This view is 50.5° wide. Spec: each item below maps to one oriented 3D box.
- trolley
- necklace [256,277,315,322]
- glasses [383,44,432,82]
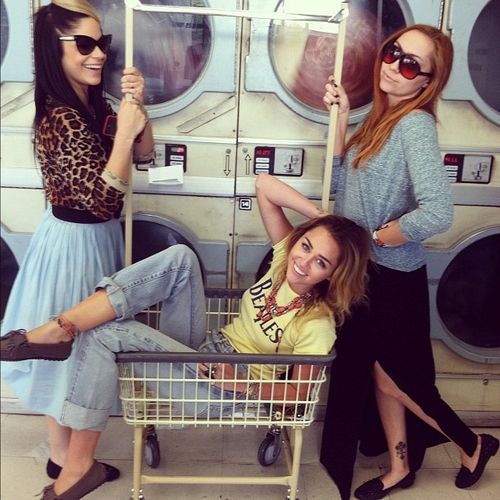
[{"bbox_3d":[-0.085,0.538,2.109,0.956,0.822,0.677,0,8,-5],"label":"trolley"},{"bbox_3d":[0.125,0.186,1.892,0.175,0.038,0.113,-35,64,5],"label":"necklace"},{"bbox_3d":[0.523,-0.637,1.773,0.124,0.055,0.147,34,11,23],"label":"glasses"}]
